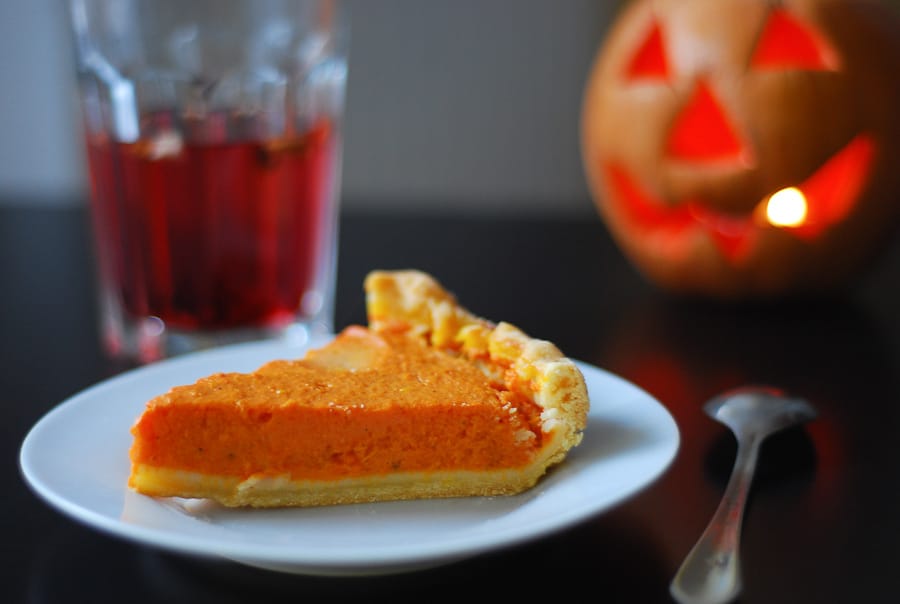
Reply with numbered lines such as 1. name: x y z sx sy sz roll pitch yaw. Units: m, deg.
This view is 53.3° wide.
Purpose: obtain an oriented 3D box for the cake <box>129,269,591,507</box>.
1. cake: -0.069 0.042 0.774 0.230 0.092 0.211 -2 15 -28
